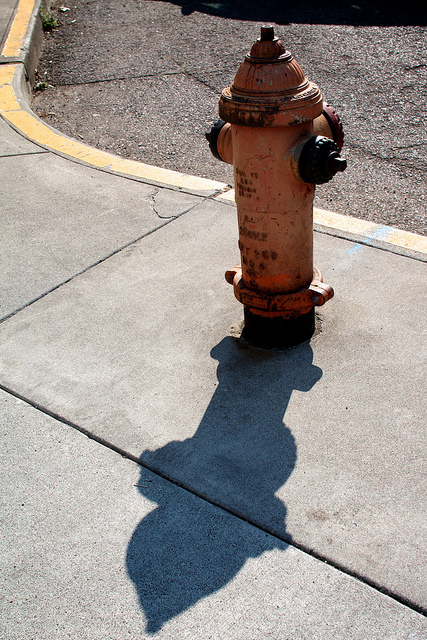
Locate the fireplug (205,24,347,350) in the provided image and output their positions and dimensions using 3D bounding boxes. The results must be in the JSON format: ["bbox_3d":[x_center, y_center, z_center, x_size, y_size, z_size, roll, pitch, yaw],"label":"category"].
[{"bbox_3d":[0.298,-0.496,2.843,0.534,1.408,0.424,-2,24,9],"label":"fireplug"}]

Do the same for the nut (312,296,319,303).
[{"bbox_3d":[0.465,-0.095,3.006,0.026,0.029,0.024,-18,66,11],"label":"nut"}]

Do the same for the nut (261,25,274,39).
[{"bbox_3d":[0.209,-1.119,2.574,0.045,0.047,0.088,-5,22,3],"label":"nut"}]

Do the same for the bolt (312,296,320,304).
[{"bbox_3d":[0.466,-0.093,3.006,0.030,0.033,0.030,-28,43,-32],"label":"bolt"}]

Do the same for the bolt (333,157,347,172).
[{"bbox_3d":[0.498,-0.610,2.623,0.058,0.054,0.062,6,-14,3],"label":"bolt"}]

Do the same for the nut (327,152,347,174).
[{"bbox_3d":[0.481,-0.616,2.587,0.099,0.075,0.094,-3,24,-20],"label":"nut"}]

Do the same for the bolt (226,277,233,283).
[{"bbox_3d":[0.080,-0.202,3.278,0.028,0.026,0.007,5,22,31],"label":"bolt"}]
